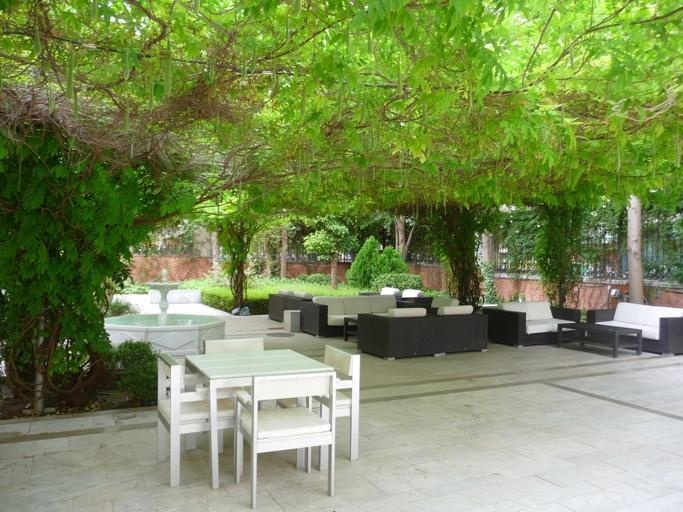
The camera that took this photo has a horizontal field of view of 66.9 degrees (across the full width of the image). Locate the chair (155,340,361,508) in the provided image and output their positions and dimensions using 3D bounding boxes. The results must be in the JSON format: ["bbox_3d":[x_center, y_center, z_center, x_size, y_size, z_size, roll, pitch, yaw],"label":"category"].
[{"bbox_3d":[-1.092,1.315,4.967,1.436,0.882,1.414,0,0,-39],"label":"chair"}]

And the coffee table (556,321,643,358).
[{"bbox_3d":[5.411,1.684,10.811,1.279,0.599,1.523,-1,3,-31],"label":"coffee table"}]
